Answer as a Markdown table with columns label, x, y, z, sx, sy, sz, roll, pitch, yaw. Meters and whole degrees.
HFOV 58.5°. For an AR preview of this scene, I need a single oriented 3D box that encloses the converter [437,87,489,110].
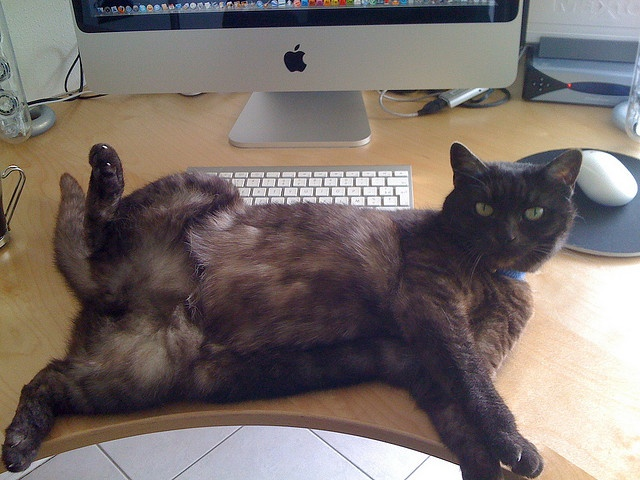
| label | x | y | z | sx | sy | sz | roll | pitch | yaw |
| --- | --- | --- | --- | --- | --- | --- | --- | --- | --- |
| converter | 0.264 | -0.269 | 1.069 | 0.076 | 0.019 | 0.044 | -22 | 36 | -16 |
